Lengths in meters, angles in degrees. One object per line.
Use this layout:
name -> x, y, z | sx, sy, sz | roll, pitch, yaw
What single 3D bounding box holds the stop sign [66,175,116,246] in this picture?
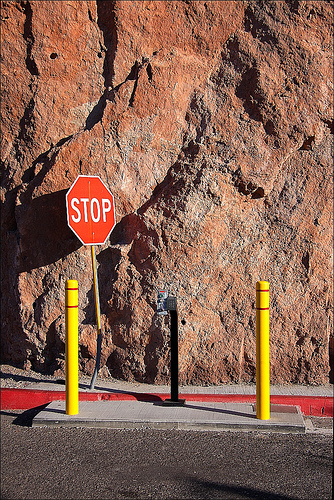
stop sign -> -0.892, -0.423, 9.406 | 0.749, 0.978, 0.038 | 7, -11, -44
